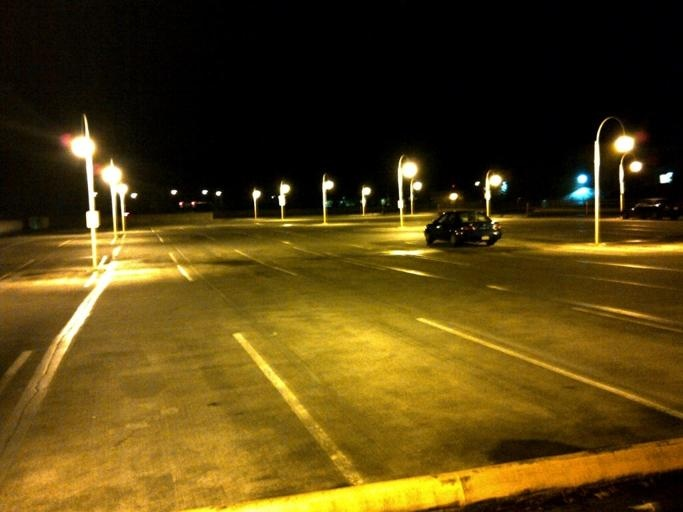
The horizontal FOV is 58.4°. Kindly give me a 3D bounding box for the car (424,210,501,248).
[{"bbox_3d":[5.729,-1.342,29.586,2.181,1.651,3.156,-7,9,-40],"label":"car"}]

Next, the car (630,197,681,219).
[{"bbox_3d":[26.385,-3.957,51.898,1.899,1.681,3.346,-3,0,-13],"label":"car"}]
